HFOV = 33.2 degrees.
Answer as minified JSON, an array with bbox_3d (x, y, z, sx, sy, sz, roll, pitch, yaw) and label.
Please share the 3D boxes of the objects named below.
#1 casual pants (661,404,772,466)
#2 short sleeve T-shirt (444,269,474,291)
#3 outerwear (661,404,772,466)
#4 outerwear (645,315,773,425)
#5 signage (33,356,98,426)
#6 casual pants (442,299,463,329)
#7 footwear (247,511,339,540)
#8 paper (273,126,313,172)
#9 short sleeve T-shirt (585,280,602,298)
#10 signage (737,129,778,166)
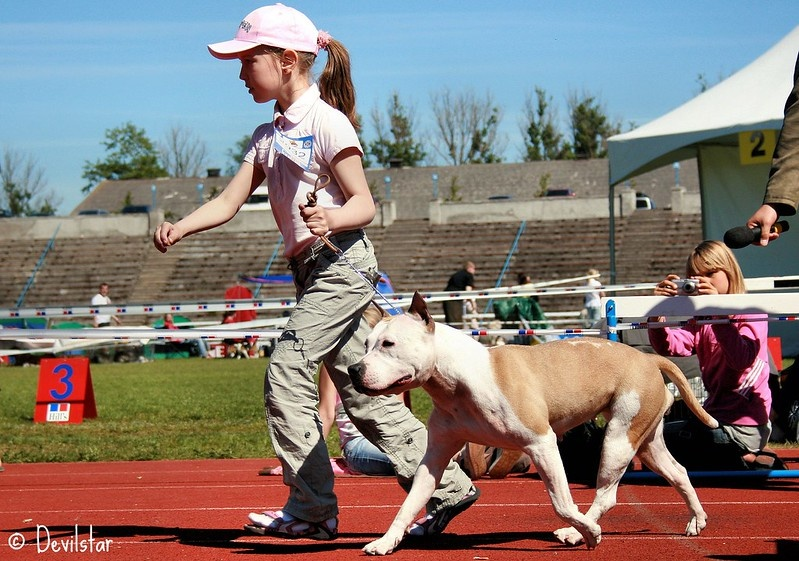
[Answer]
[{"bbox_3d":[3.079,1.542,13.062,0.757,0.308,0.562,3,-2,-30],"label":"casual pants"},{"bbox_3d":[1.182,-0.041,26.178,0.382,0.572,0.647,-6,11,-40],"label":"short sleeve T-shirt"},{"bbox_3d":[3.069,1.522,13.035,0.757,0.308,0.562,3,-2,-30],"label":"outerwear"},{"bbox_3d":[3.066,0.810,13.028,1.110,1.202,1.231,-3,-4,44],"label":"outerwear"},{"bbox_3d":[-4.431,1.432,17.524,0.721,0.814,0.211,-3,1,-5],"label":"signage"},{"bbox_3d":[1.043,0.615,25.689,0.513,0.735,0.460,-2,-2,2],"label":"casual pants"},{"bbox_3d":[-0.940,2.144,11.936,0.803,0.344,0.284,5,-5,-1],"label":"footwear"},{"bbox_3d":[-0.929,-1.157,11.831,0.370,0.328,0.029,11,5,33],"label":"paper"},{"bbox_3d":[3.457,0.153,23.879,0.250,0.437,0.409,-2,1,-5],"label":"short sleeve T-shirt"},{"bbox_3d":[5.386,-2.037,20.199,0.625,0.595,0.062,-7,11,-22],"label":"signage"}]
